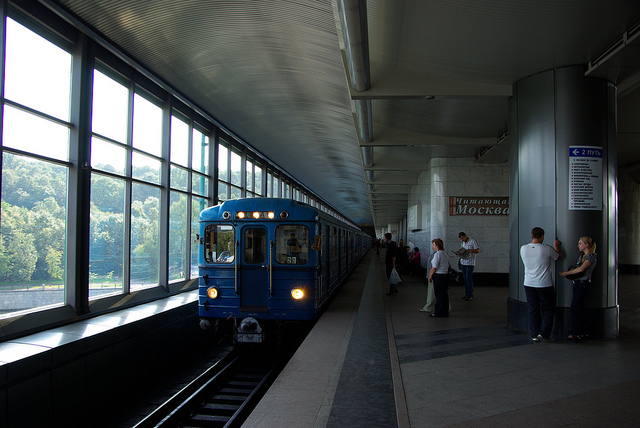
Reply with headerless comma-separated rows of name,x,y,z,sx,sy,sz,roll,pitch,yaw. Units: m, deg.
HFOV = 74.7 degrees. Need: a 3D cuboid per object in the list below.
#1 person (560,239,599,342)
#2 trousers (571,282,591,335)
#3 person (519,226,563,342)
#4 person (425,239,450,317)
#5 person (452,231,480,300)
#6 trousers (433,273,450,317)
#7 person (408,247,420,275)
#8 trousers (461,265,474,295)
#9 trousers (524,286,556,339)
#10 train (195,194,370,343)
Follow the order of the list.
person,5.587,1.577,8.872,0.738,2.164,0.427,0,2,-17
trousers,5.512,1.960,8.825,0.424,1.143,0.231,0,2,-23
person,4.656,1.471,8.924,0.682,2.384,0.286,2,3,31
person,3.125,1.660,11.117,0.520,2.041,0.518,2,2,23
person,4.777,1.661,13.633,0.645,2.204,1.503,1,2,21
trousers,3.212,2.100,11.089,0.462,1.168,0.363,1,2,7
person,4.947,2.502,22.082,0.503,0.581,1.443,-19,-20,8
trousers,4.696,2.078,13.405,0.345,0.996,0.330,1,2,13
trousers,4.699,2.063,8.957,0.580,1.128,0.299,2,3,27
train,-1.482,1.259,10.075,2.819,3.305,0.960,1,2,11
